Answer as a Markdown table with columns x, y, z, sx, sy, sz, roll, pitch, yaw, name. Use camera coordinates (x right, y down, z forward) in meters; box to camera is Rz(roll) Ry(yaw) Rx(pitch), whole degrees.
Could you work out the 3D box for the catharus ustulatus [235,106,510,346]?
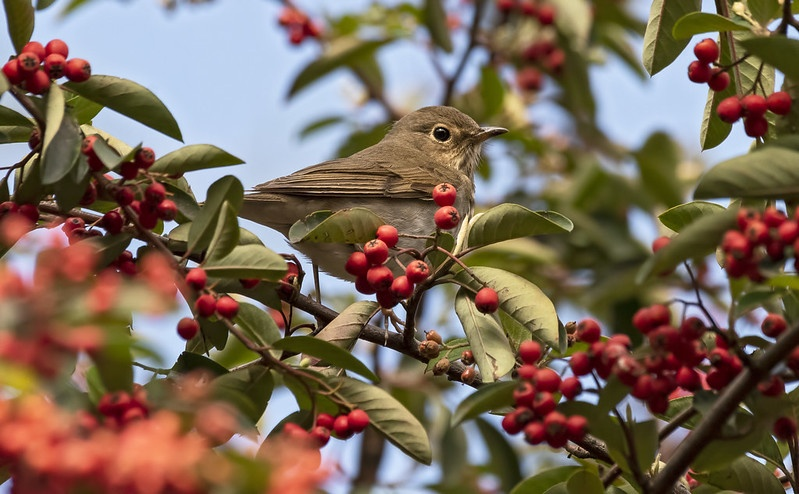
| x | y | z | sx | sy | sz | roll | pitch | yaw | name |
| --- | --- | --- | --- | --- | --- | --- | --- | --- | --- |
| -0.359 | -0.416 | 8.162 | 2.447 | 1.510 | 0.760 | 3 | -19 | -20 | catharus ustulatus |
